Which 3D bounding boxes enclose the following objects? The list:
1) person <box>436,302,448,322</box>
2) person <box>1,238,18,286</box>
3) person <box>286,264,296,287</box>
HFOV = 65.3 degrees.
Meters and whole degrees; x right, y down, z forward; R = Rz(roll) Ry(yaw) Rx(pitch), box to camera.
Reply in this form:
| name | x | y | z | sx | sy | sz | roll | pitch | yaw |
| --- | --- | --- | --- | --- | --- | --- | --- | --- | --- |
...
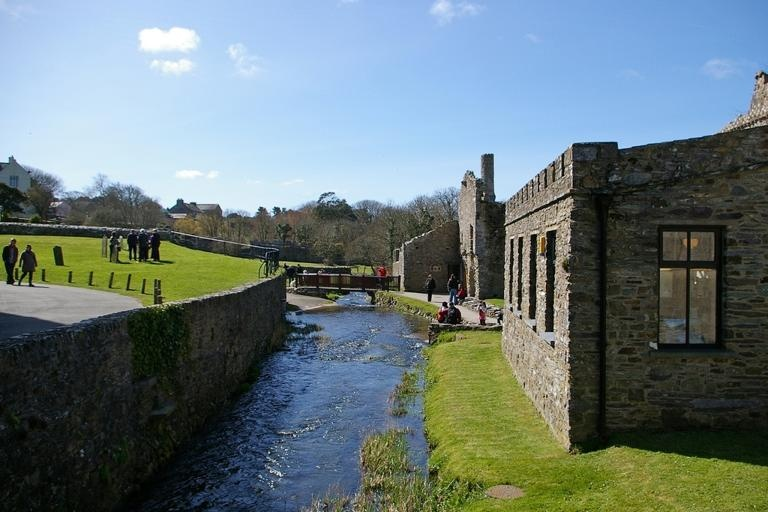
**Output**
| name | x | y | z | sx | sy | sz | roll | pitch | yaw |
| --- | --- | --- | --- | --- | --- | --- | --- | --- | --- |
| person | 2.937 | 2.820 | 29.991 | 0.629 | 0.939 | 0.382 | -2 | -18 | 34 |
| person | -15.177 | 0.228 | 24.390 | 0.648 | 1.824 | 0.756 | -15 | 8 | -28 |
| person | -8.013 | 1.743 | 51.845 | 0.851 | 1.165 | 3.845 | -12 | 6 | -12 |
